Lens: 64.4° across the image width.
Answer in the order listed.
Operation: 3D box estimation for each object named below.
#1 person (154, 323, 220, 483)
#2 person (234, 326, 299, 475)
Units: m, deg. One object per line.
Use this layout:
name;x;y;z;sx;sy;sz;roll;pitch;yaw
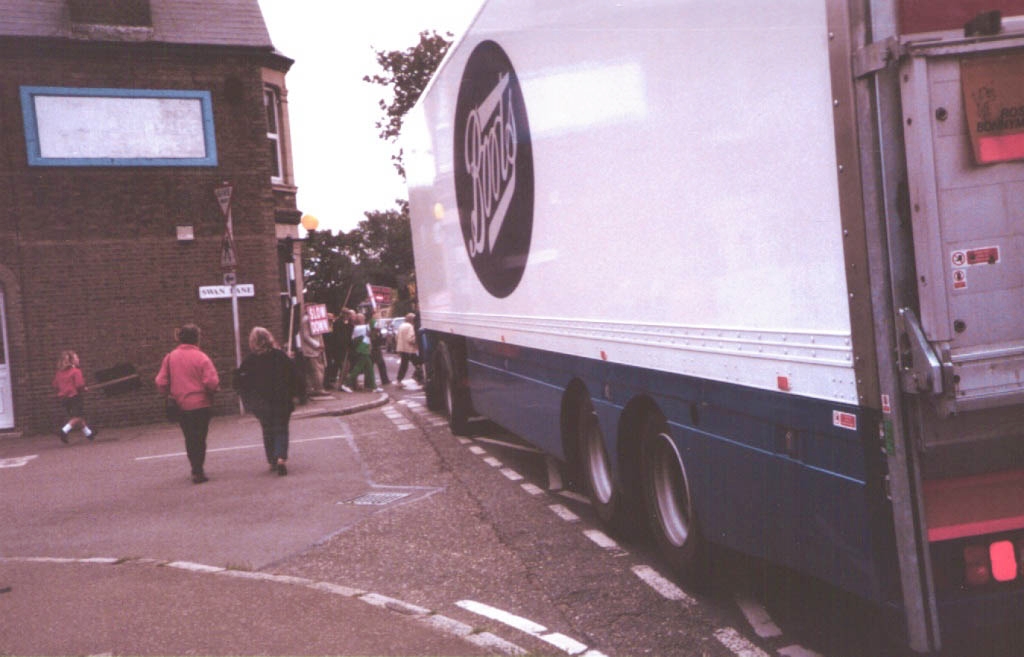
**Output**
person;-4.641;1.076;11.736;0.769;1.524;0.859;-3;2;-21
person;-3.593;1.049;11.906;0.763;2.093;0.573;-2;2;4
